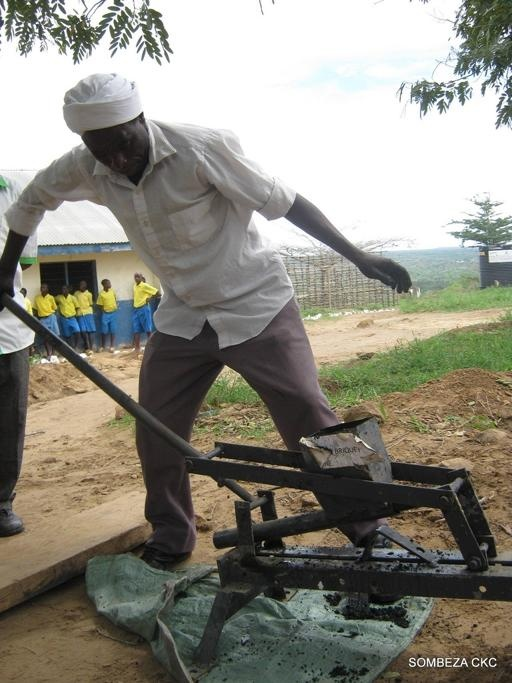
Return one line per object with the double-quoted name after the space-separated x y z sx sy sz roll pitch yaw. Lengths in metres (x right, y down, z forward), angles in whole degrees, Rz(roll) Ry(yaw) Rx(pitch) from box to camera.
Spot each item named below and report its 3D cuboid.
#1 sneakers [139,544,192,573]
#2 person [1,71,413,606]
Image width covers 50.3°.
-0.410 1.043 2.616 0.096 0.111 0.293 4 -11 43 "sneakers"
-0.235 -0.311 2.257 1.609 1.368 0.627 -10 7 12 "person"
